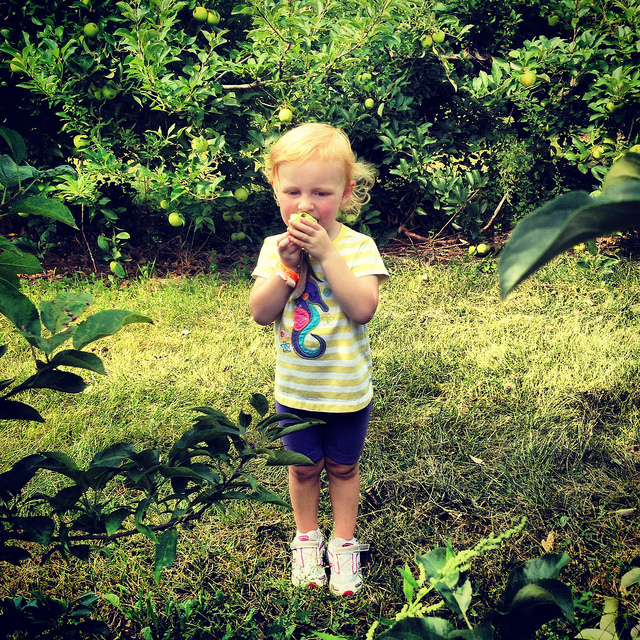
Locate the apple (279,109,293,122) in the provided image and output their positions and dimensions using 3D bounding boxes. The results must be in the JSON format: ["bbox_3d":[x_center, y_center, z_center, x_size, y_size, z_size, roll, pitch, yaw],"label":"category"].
[{"bbox_3d":[-0.228,-1.297,4.081,0.095,0.075,0.096,10,1,-7],"label":"apple"}]

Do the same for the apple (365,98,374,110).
[{"bbox_3d":[0.343,-1.501,4.406,0.077,0.059,0.066,0,16,-11],"label":"apple"}]

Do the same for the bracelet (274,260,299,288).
[{"bbox_3d":[-0.118,-0.157,2.213,0.083,0.091,0.043,-3,16,3],"label":"bracelet"}]

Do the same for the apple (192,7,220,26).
[{"bbox_3d":[-0.730,-1.966,4.121,0.221,0.108,0.110,4,12,-14],"label":"apple"}]

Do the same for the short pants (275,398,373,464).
[{"bbox_3d":[0.016,0.421,2.360,0.346,0.246,0.150,-3,16,0],"label":"short pants"}]

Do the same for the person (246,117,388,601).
[{"bbox_3d":[0.004,0.163,2.306,0.504,1.700,0.670,-3,16,6],"label":"person"}]

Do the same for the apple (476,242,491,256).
[{"bbox_3d":[1.163,-0.517,4.550,0.083,0.076,0.107,17,53,43],"label":"apple"}]

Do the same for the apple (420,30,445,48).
[{"bbox_3d":[0.770,-1.913,4.327,0.177,0.073,0.090,-23,42,-1],"label":"apple"}]
